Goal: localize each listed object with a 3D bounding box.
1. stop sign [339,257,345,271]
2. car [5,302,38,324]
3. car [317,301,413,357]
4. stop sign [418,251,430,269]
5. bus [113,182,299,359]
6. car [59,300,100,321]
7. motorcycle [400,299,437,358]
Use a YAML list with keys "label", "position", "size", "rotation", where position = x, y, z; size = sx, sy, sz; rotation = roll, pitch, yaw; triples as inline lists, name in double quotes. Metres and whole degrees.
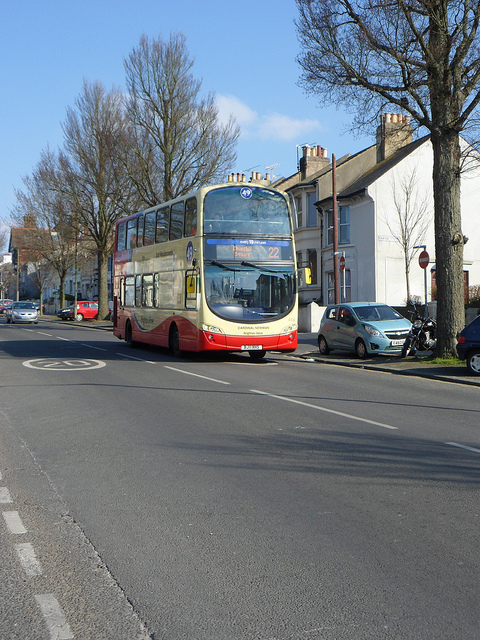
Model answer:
- label: "stop sign"
  position: [3.513, -1.917, 22.353]
  size: [0.157, 0.408, 0.571]
  rotation: [0, 1, 8]
- label: "car"
  position: [-16.395, -0.509, 49.270]
  size: [1.424, 1.189, 2.931]
  rotation: [0, -3, -21]
- label: "car"
  position: [3.657, 0.320, 19.004]
  size: [1.263, 1.596, 3.299]
  rotation: [0, 1, -24]
- label: "stop sign"
  position: [4.739, -1.551, 16.786]
  size: [0.214, 0.420, 0.692]
  rotation: [0, 1, 13]
- label: "bus"
  position: [-1.706, -1.312, 19.716]
  size: [2.343, 4.844, 8.019]
  rotation: [0, 1, -28]
- label: "car"
  position: [-14.510, -0.829, 59.267]
  size: [2.978, 1.718, 6.652]
  rotation: [0, 1, -16]
- label: "motorcycle"
  position: [4.943, 0.308, 16.979]
  size: [0.653, 1.110, 1.510]
  rotation: [-8, -5, -25]
